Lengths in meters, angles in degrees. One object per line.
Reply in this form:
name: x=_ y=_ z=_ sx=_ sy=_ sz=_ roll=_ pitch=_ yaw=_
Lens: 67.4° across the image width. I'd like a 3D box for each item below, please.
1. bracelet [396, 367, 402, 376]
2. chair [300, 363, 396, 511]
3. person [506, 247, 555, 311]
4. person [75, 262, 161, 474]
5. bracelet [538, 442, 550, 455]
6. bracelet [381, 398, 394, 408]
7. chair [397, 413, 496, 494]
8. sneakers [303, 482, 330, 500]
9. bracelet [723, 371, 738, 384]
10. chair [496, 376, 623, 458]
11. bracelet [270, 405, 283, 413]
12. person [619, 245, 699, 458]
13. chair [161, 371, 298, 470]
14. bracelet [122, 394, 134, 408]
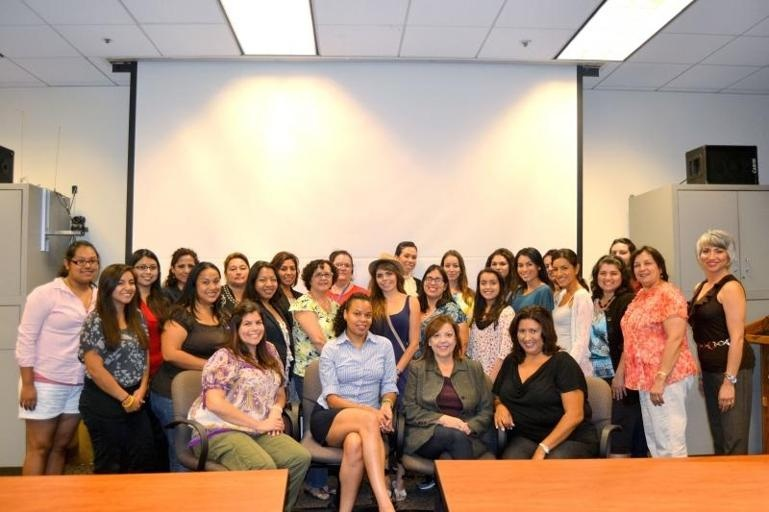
bracelet: x=0.133 y=1.024 z=5.106 sx=0.041 sy=0.062 sz=0.056 roll=5 pitch=-7 yaw=-22
chair: x=-0.463 y=1.397 z=5.019 sx=0.855 sy=1.189 sz=0.975 roll=1 pitch=-16 yaw=-6
person: x=1.346 y=0.232 z=5.337 sx=0.332 sy=0.797 sz=0.460 roll=7 pitch=-11 yaw=-35
person: x=-2.122 y=1.163 z=4.698 sx=0.724 sy=2.131 sz=0.571 roll=2 pitch=5 yaw=-28
bracelet: x=1.202 y=1.454 z=4.338 sx=0.066 sy=0.083 sz=0.025 roll=-41 pitch=0 yaw=-6
bracelet: x=0.027 y=1.204 z=4.705 sx=0.071 sy=0.044 sz=0.083 roll=0 pitch=-4 yaw=3
chair: x=0.495 y=1.579 z=4.641 sx=0.548 sy=0.719 sz=0.610 roll=1 pitch=-17 yaw=3
sneakers: x=-0.583 y=2.083 z=5.125 sx=0.267 sy=0.111 sz=0.100 roll=4 pitch=-2 yaw=20
bracelet: x=2.794 y=0.977 z=4.634 sx=0.085 sy=0.051 sz=0.097 roll=33 pitch=-7 yaw=1
chair: x=1.458 y=1.380 z=4.790 sx=0.593 sy=0.900 sz=0.609 roll=-11 pitch=-33 yaw=28
bracelet: x=-0.864 y=1.213 z=4.553 sx=0.065 sy=0.027 sz=0.073 roll=-1 pitch=4 yaw=3
person: x=2.184 y=0.772 z=4.722 sx=0.385 sy=1.711 sz=0.584 roll=2 pitch=-5 yaw=-40
chair: x=-1.135 y=1.220 z=4.565 sx=0.746 sy=1.037 sz=0.623 roll=10 pitch=-34 yaw=-41
bracelet: x=-2.031 y=1.150 z=4.554 sx=0.081 sy=0.089 sz=0.029 roll=0 pitch=-4 yaw=-25
